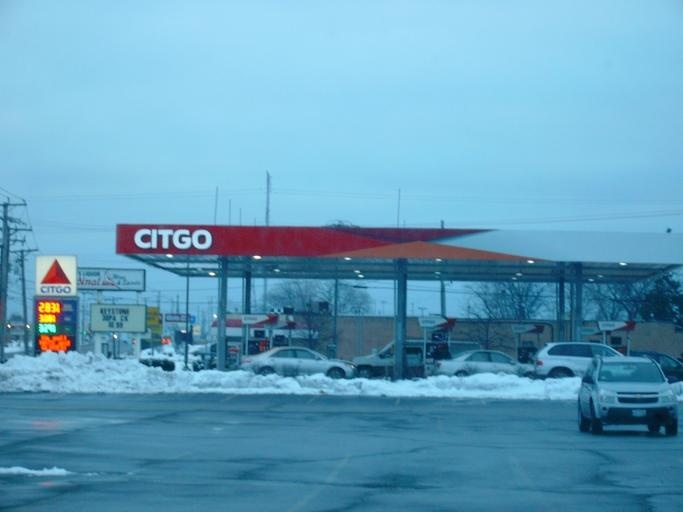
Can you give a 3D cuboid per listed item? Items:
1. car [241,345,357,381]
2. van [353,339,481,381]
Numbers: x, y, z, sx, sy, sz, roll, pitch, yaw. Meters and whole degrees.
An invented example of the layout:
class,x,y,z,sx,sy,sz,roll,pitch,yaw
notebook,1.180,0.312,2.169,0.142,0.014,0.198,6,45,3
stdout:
class,x,y,z,sx,sy,sz,roll,pitch,yaw
car,-1.912,4.450,51.495,4.478,1.345,1.187,-1,-6,-8
van,3.567,4.692,55.754,6.252,2.299,2.098,-1,-1,15
